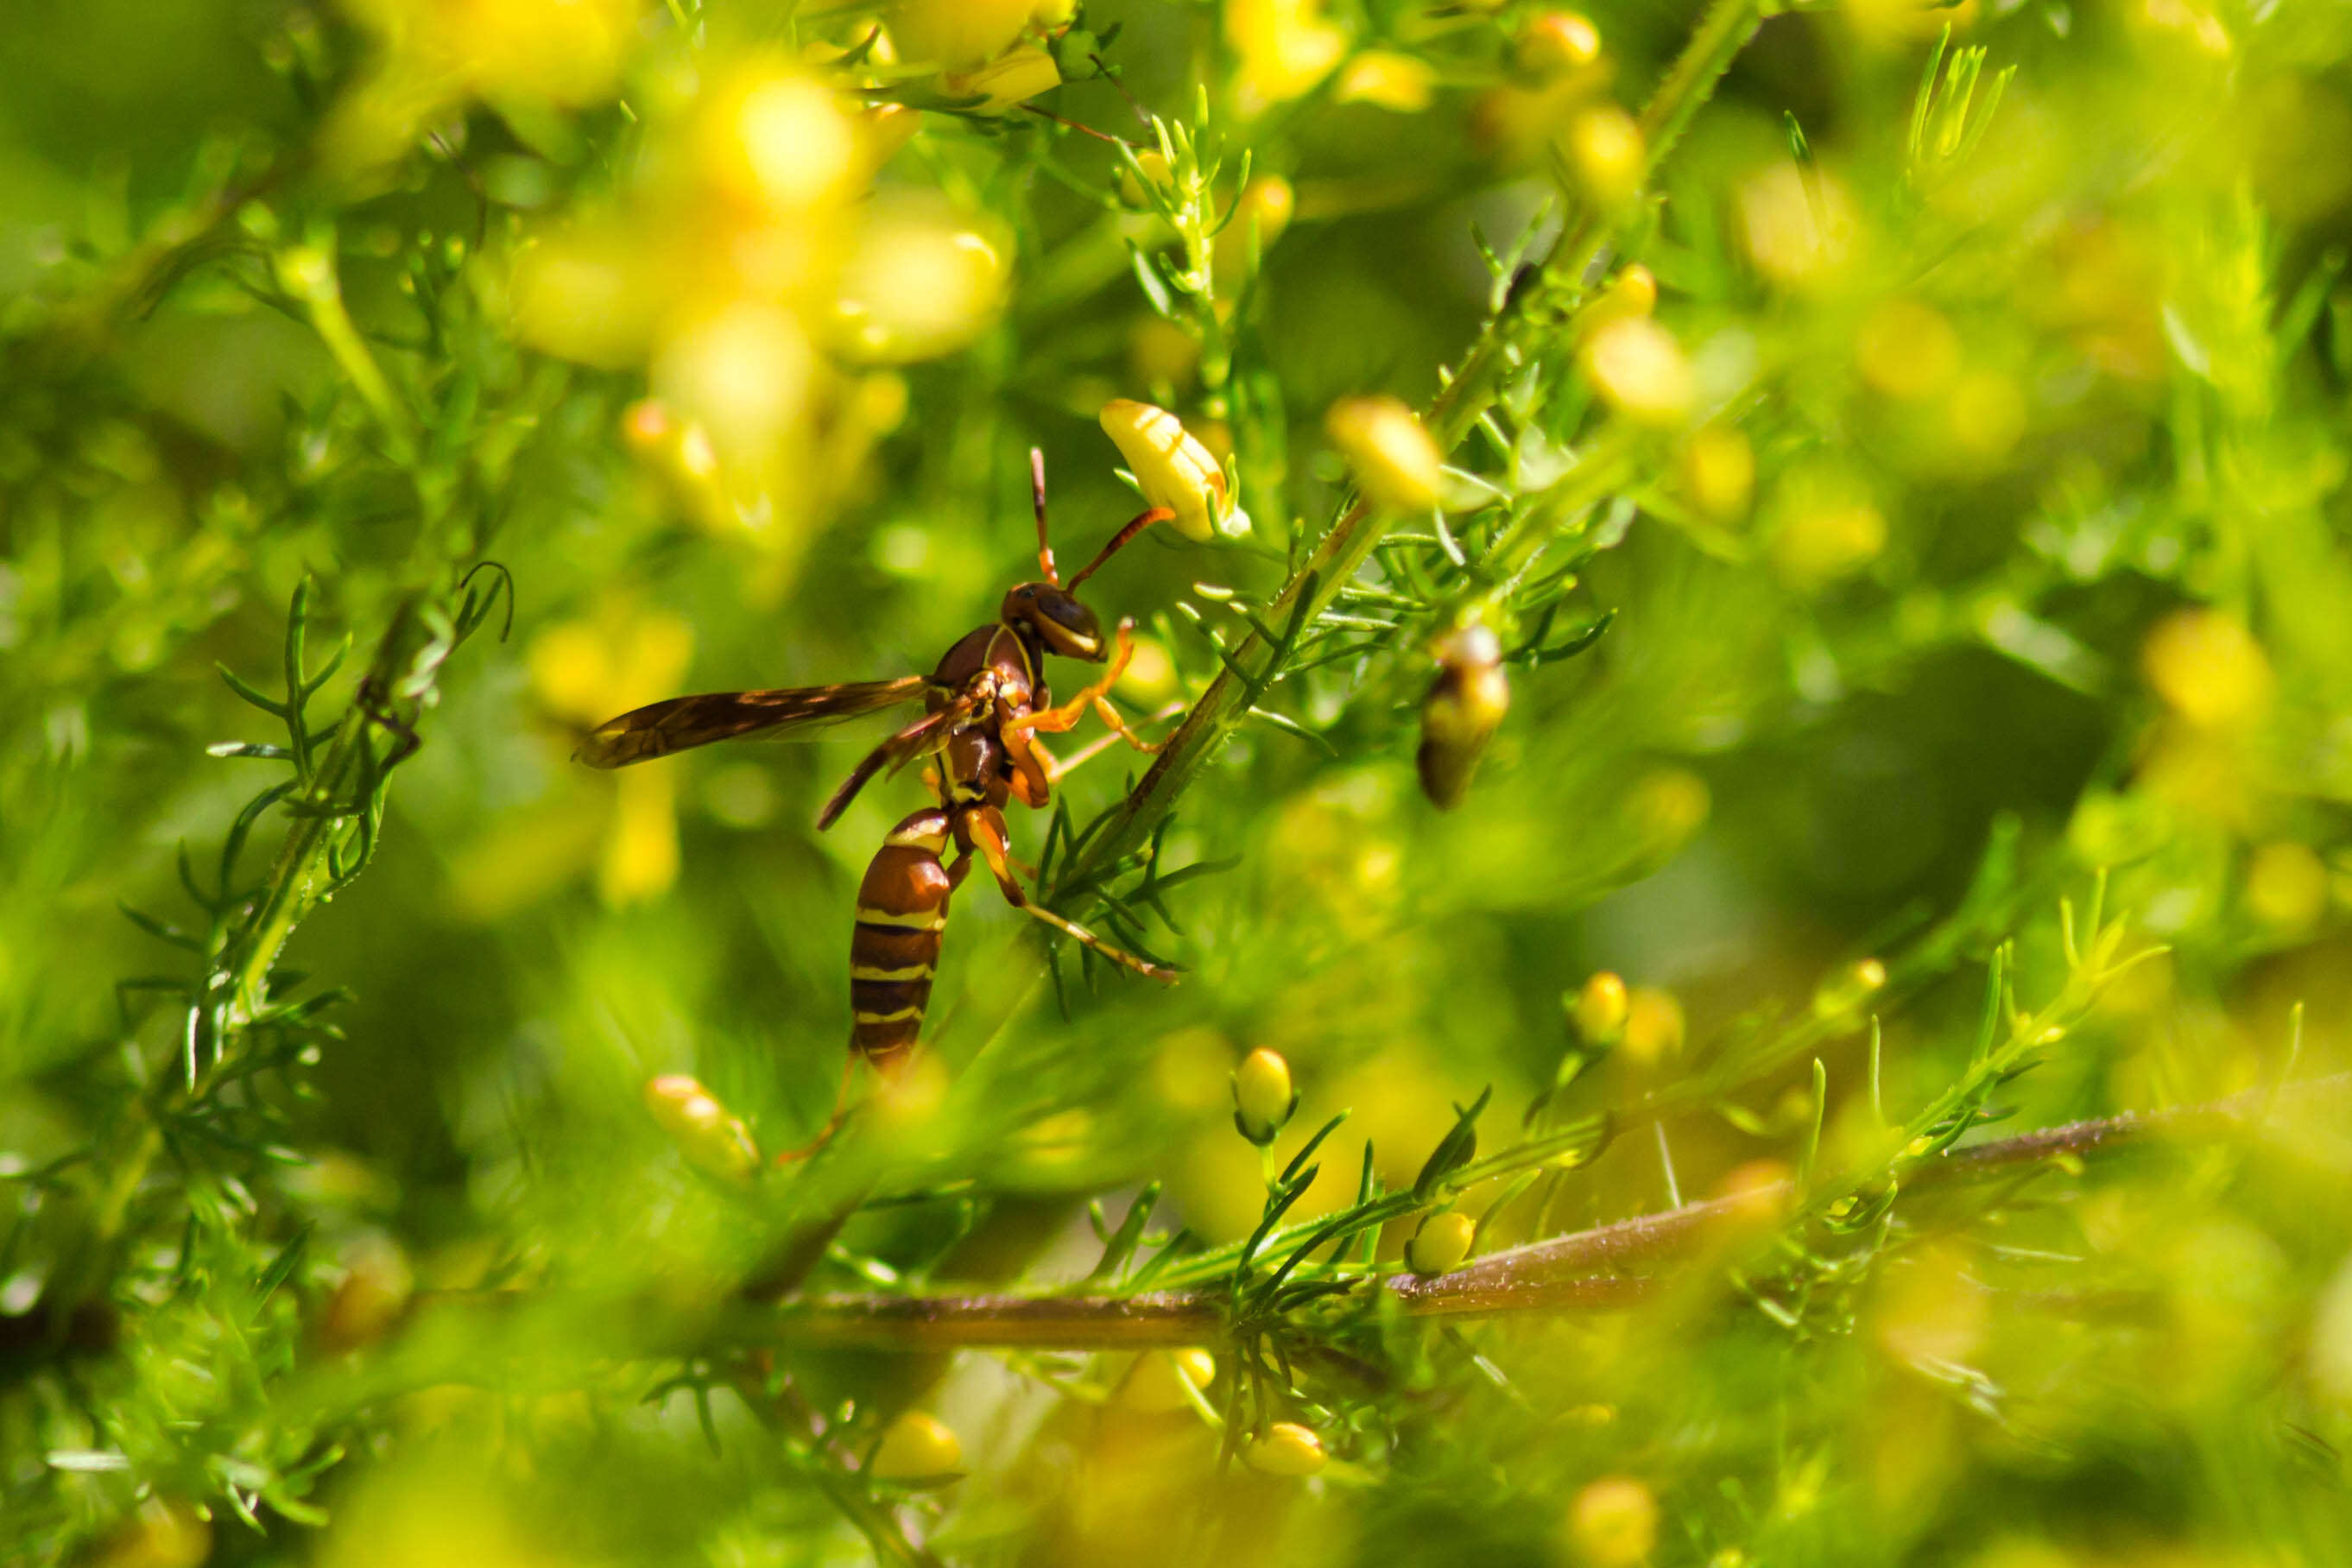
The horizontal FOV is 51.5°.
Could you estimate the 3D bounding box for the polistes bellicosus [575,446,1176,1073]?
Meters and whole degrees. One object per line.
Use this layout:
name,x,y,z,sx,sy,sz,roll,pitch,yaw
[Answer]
polistes bellicosus,-0.107,-0.007,1.177,0.179,0.216,0.312,45,79,-17
